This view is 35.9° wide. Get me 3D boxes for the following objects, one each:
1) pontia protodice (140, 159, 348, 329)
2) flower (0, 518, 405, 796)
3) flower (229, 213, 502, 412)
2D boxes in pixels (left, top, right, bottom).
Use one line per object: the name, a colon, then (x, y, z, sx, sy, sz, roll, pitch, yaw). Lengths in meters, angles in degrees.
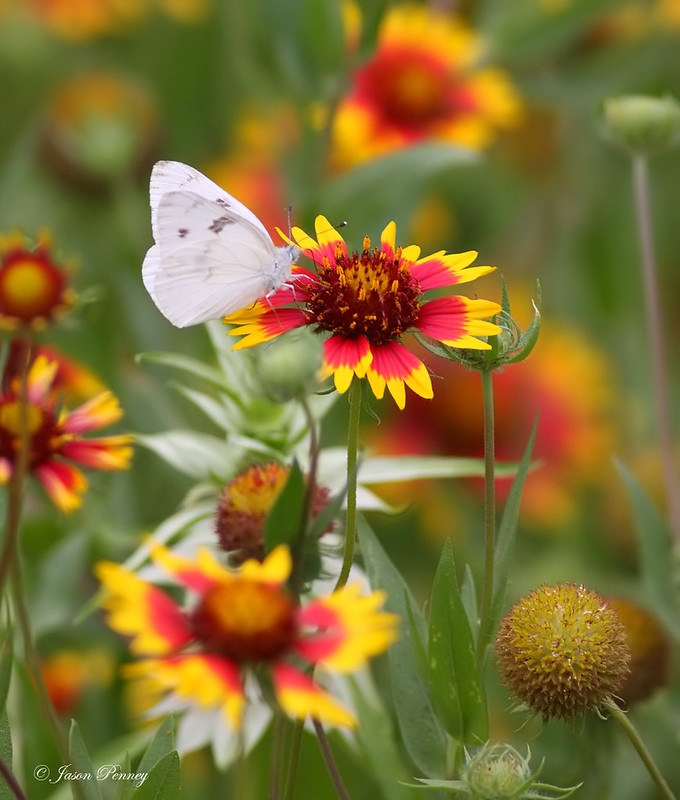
pontia protodice: (-0.071, -0.084, 0.731, 0.119, 0.128, 0.094, -20, 52, -6)
flower: (-0.044, 0.103, 0.476, 0.109, 0.039, 0.107, -13, 43, -41)
flower: (0.021, -0.063, 0.638, 0.136, 0.137, 0.056, -9, 77, -14)
